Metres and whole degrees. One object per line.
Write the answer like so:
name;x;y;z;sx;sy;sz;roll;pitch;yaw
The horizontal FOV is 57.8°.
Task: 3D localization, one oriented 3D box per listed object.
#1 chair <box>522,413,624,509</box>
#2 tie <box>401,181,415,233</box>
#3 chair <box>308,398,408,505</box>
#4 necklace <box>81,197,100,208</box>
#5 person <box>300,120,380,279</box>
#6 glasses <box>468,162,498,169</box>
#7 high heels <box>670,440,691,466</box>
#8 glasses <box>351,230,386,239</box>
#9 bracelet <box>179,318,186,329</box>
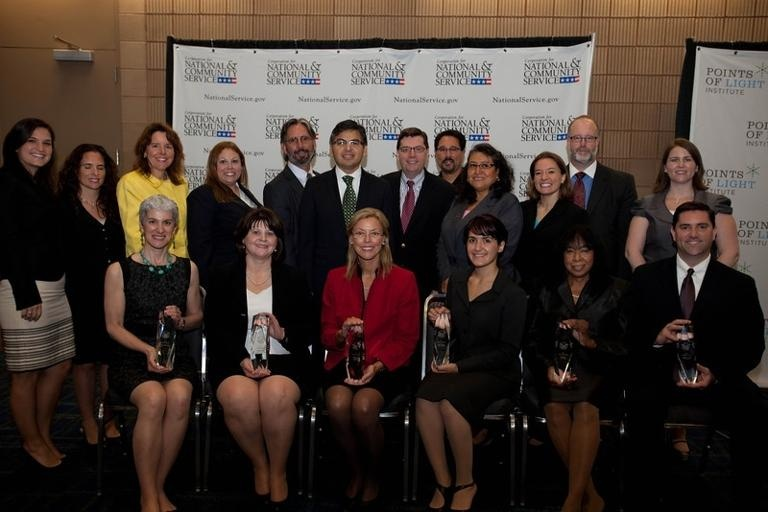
chair;1.428;1.464;5.534;0.804;0.823;0.648;0;-8;5
tie;0.211;-0.446;6.378;0.105;0.493;0.027;6;-11;14
chair;-0.292;1.527;5.584;0.609;1.157;0.821;-1;-20;5
necklace;-2.540;-0.450;5.986;0.088;0.093;0.026;-9;-9;-43
person;-0.360;-0.172;6.171;0.761;1.973;0.595;1;-1;-9
glasses;0.845;-0.788;6.102;0.222;0.066;0.050;3;9;6
high heels;2.538;1.674;5.972;0.142;0.250;0.135;2;20;12
glasses;-0.136;-0.169;5.538;0.251;0.063;0.058;1;9;-7
bracelet;-1.580;0.526;5.421;0.063;0.050;0.025;-7;43;-12
